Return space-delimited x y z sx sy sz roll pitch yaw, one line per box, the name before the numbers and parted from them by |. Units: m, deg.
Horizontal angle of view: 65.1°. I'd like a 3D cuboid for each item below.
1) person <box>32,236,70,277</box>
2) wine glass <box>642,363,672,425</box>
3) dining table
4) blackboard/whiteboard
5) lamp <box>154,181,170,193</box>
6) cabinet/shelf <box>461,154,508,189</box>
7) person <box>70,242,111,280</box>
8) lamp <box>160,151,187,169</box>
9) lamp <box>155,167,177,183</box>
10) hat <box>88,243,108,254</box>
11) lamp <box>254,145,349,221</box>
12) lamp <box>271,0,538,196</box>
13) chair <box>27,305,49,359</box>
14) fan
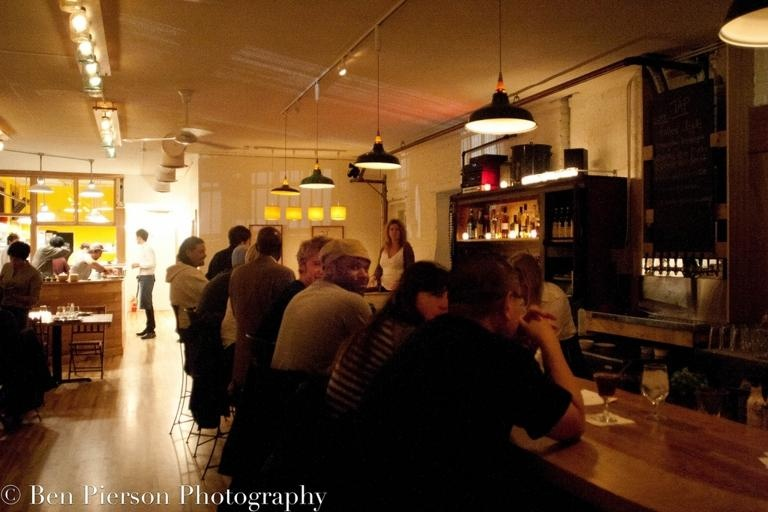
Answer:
person | -5.550 0.016 10.038 0.428 0.713 0.440 23 15 6
wine glass | 1.779 0.870 3.966 0.157 0.350 0.273 4 8 25
dining table | -4.208 1.180 7.991 1.083 1.004 1.078 1 -1 -10
blackboard/whiteboard | 3.253 -0.948 6.581 0.182 1.851 0.794 -5 9 -41
lamp | -5.015 -1.527 13.517 0.359 0.254 0.356 5 -4 -29
cabinet/shelf | 1.390 -1.161 8.631 0.361 0.483 0.519 2 0 -25
person | -5.603 0.106 11.467 0.474 0.850 0.389 9 17 -41
lamp | -3.575 -1.573 10.109 0.392 0.384 0.350 -1 -5 -3
lamp | -4.400 -1.616 12.107 0.329 0.353 0.408 0 -1 -36
hat | -6.025 -0.151 12.582 0.249 0.118 0.356 2 0 -6
lamp | -1.672 -1.105 11.441 1.430 0.964 1.231 -6 -4 13
lamp | 0.098 -1.763 7.371 2.019 1.843 4.948 -1 8 -14
chair | -4.518 0.906 7.811 0.204 0.393 0.223 7 22 -17
fan | -3.146 -2.020 9.761 1.151 0.515 1.014 -2 3 -38
